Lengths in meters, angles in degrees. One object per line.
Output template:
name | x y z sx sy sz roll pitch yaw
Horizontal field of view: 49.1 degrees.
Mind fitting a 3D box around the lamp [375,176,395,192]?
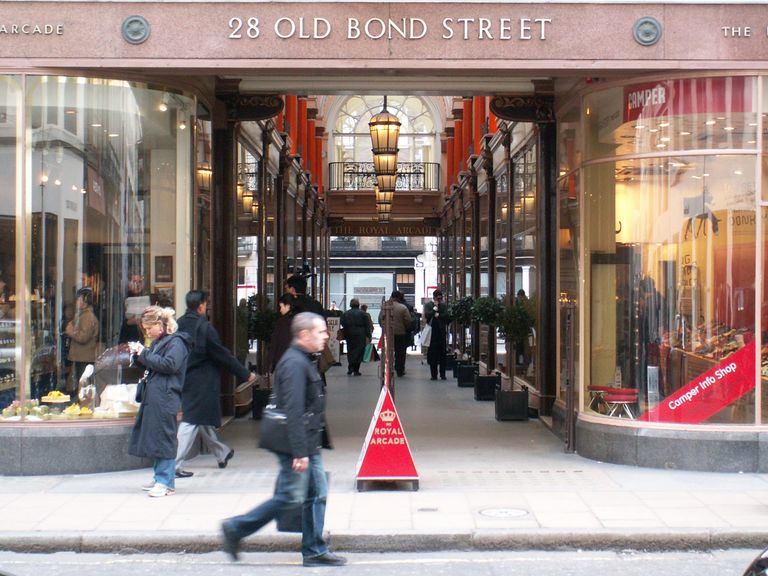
lamp | 0.078 -2.668 20.768 0.438 0.350 0.389 0 -5 -3

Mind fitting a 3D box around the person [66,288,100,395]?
person | -4.011 0.671 11.151 0.141 1.313 0.388 2 4 43

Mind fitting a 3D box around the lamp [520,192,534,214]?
lamp | 2.631 -1.554 15.313 0.254 0.457 0.460 -1 -1 2

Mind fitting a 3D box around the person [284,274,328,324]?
person | -1.365 0.174 14.095 0.616 0.832 0.739 -15 31 -35

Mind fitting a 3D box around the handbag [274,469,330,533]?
handbag | -0.872 2.142 8.281 0.544 0.625 0.520 1 1 14

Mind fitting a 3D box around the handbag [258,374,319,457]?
handbag | -0.858 1.077 7.919 0.612 0.923 0.957 2 -3 -9

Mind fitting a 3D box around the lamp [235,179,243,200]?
lamp | -2.622 -1.792 15.309 0.235 0.317 0.242 0 -3 -7

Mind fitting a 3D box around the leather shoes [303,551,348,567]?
leather shoes | -0.553 2.537 7.950 0.411 0.175 0.152 0 -3 -5

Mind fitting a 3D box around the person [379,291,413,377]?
person | 0.385 1.156 21.851 0.807 2.219 0.675 9 -20 -36

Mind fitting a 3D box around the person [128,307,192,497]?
person | -2.620 1.306 9.811 0.684 2.155 0.639 -1 3 -14

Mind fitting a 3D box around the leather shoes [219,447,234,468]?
leather shoes | -2.039 2.236 11.106 0.109 0.336 0.139 27 -18 11

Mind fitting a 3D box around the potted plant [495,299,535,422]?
potted plant | 2.443 1.225 15.659 0.686 1.987 2.694 0 3 9

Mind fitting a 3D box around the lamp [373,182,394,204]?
lamp | 0.001 -2.710 23.128 0.643 0.511 0.576 0 -4 1

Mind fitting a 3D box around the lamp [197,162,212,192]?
lamp | -2.820 -1.747 13.166 0.342 0.478 0.341 0 -2 -9

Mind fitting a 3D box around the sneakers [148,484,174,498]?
sneakers | -2.564 2.336 9.652 0.282 0.138 0.121 6 0 -27

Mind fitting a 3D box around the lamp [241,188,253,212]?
lamp | -2.595 -1.668 15.969 0.291 0.490 0.300 0 -3 -7

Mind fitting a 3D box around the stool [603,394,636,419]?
stool | 3.172 1.587 11.241 0.279 0.224 0.290 0 -9 1

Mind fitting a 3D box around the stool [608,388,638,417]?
stool | 3.184 1.541 11.237 0.331 0.365 0.340 0 -8 1

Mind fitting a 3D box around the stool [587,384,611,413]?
stool | 2.937 1.514 11.493 0.295 0.363 0.303 3 -10 -16
